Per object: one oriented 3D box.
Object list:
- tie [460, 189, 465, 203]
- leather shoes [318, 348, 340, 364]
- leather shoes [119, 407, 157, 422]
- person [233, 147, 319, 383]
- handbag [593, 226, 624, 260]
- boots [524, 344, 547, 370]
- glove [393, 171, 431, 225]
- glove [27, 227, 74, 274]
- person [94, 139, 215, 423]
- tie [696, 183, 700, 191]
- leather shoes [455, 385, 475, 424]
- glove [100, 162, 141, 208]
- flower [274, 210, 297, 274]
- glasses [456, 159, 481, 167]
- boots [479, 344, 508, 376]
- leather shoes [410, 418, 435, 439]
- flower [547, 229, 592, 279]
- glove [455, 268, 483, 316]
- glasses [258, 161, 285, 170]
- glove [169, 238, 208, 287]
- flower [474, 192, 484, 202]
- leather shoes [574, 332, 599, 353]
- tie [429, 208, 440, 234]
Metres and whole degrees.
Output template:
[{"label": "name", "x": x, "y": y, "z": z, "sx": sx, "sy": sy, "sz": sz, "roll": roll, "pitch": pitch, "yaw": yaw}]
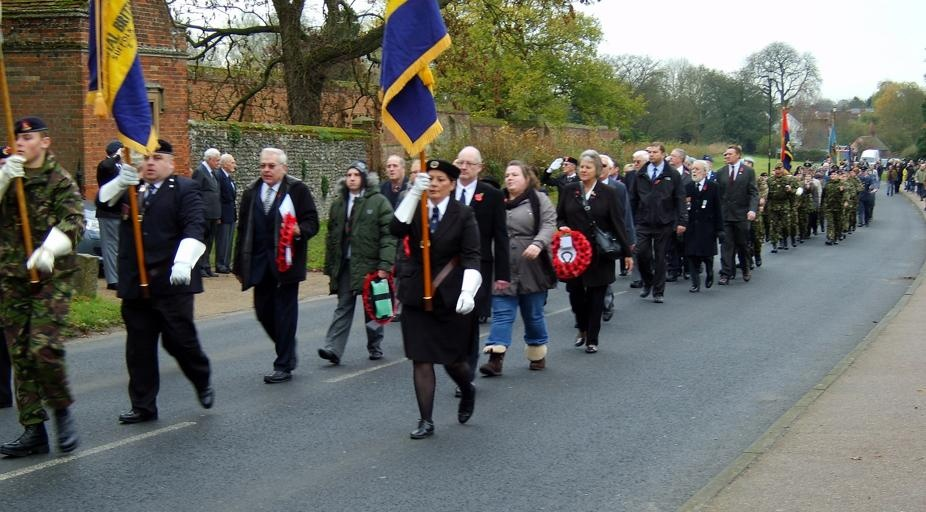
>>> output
[{"label": "tie", "x": 0.010, "y": -0.814, "z": 11.499, "sx": 0.076, "sy": 0.171, "sz": 0.107, "roll": -1, "pitch": 14, "yaw": -1}, {"label": "leather shoes", "x": -1.903, "y": 1.461, "z": 12.537, "sx": 0.189, "sy": 0.140, "sz": 0.421, "roll": -14, "pitch": -35, "yaw": 39}, {"label": "leather shoes", "x": -3.943, "y": 1.950, "z": 10.541, "sx": 0.498, "sy": 0.175, "sz": 0.176, "roll": 5, "pitch": -1, "yaw": -22}, {"label": "person", "x": -2.590, "y": 0.113, "z": 11.839, "sx": 1.118, "sy": 3.126, "sz": 0.928, "roll": 1, "pitch": 14, "yaw": 7}, {"label": "handbag", "x": 2.281, "y": -0.201, "z": 13.428, "sx": 0.550, "sy": 0.463, "sz": 0.188, "roll": 6, "pitch": -35, "yaw": -45}, {"label": "boots", "x": 1.068, "y": 1.435, "z": 12.438, "sx": 0.278, "sy": 0.345, "sz": 0.373, "roll": 0, "pitch": 13, "yaw": 3}, {"label": "glove", "x": -0.593, "y": -0.681, "z": 10.094, "sx": 0.434, "sy": 0.610, "sz": 0.197, "roll": -2, "pitch": 14, "yaw": -4}, {"label": "glove", "x": -4.627, "y": -0.060, "z": 9.614, "sx": 0.320, "sy": 0.325, "sz": 0.412, "roll": 30, "pitch": 40, "yaw": 14}, {"label": "person", "x": -3.689, "y": 0.297, "z": 10.565, "sx": 1.112, "sy": 3.324, "sz": 1.141, "roll": -5, "pitch": 15, "yaw": -16}, {"label": "tie", "x": 5.207, "y": -1.540, "z": 18.874, "sx": 0.121, "sy": 0.140, "sz": 0.069, "roll": -4, "pitch": -8, "yaw": 36}, {"label": "leather shoes", "x": -0.001, "y": 1.798, "z": 10.565, "sx": 0.200, "sy": 0.502, "sz": 0.240, "roll": 4, "pitch": 9, "yaw": 26}, {"label": "glove", "x": -4.131, "y": -0.860, "z": 10.295, "sx": 0.547, "sy": 0.409, "sz": 0.157, "roll": -43, "pitch": 12, "yaw": 3}, {"label": "flower", "x": -2.406, "y": -0.189, "z": 11.704, "sx": 0.259, "sy": 0.785, "sz": 0.356, "roll": 1, "pitch": 14, "yaw": 9}, {"label": "glasses", "x": 0.075, "y": -1.253, "z": 11.461, "sx": 0.238, "sy": 0.073, "sz": 0.283, "roll": 0, "pitch": -2, "yaw": 10}, {"label": "boots", "x": 0.583, "y": 1.493, "z": 12.093, "sx": 0.627, "sy": 0.391, "sz": 0.249, "roll": 5, "pitch": -4, "yaw": -41}, {"label": "leather shoes", "x": -0.453, "y": 2.066, "z": 10.216, "sx": 0.153, "sy": 0.139, "sz": 0.345, "roll": 0, "pitch": -3, "yaw": 29}, {"label": "flower", "x": 1.633, "y": -0.013, "z": 13.143, "sx": 0.767, "sy": 0.285, "sz": 0.792, "roll": -21, "pitch": 43, "yaw": 11}, {"label": "glove", "x": 0.097, "y": 0.433, "z": 10.042, "sx": 0.334, "sy": 0.236, "sz": 0.522, "roll": 4, "pitch": 48, "yaw": 31}, {"label": "glasses", "x": -2.580, "y": -1.265, "z": 11.762, "sx": 0.329, "sy": 0.114, "sz": 0.172, "roll": -6, "pitch": 14, "yaw": -23}, {"label": "glove", "x": -3.300, "y": 0.069, "z": 10.243, "sx": 0.275, "sy": 0.536, "sz": 0.460, "roll": 2, "pitch": 14, "yaw": 14}, {"label": "flower", "x": 0.225, "y": -0.791, "z": 11.481, "sx": 0.115, "sy": 0.105, "sz": 0.053, "roll": 4, "pitch": 15, "yaw": 20}, {"label": "leather shoes", "x": 1.920, "y": 1.366, "z": 13.409, "sx": 0.183, "sy": 0.173, "sz": 0.492, "roll": -4, "pitch": 2, "yaw": -20}, {"label": "tie", "x": -0.332, "y": -0.445, "z": 10.226, "sx": 0.125, "sy": 0.296, "sz": 0.162, "roll": -2, "pitch": 14, "yaw": -2}]
